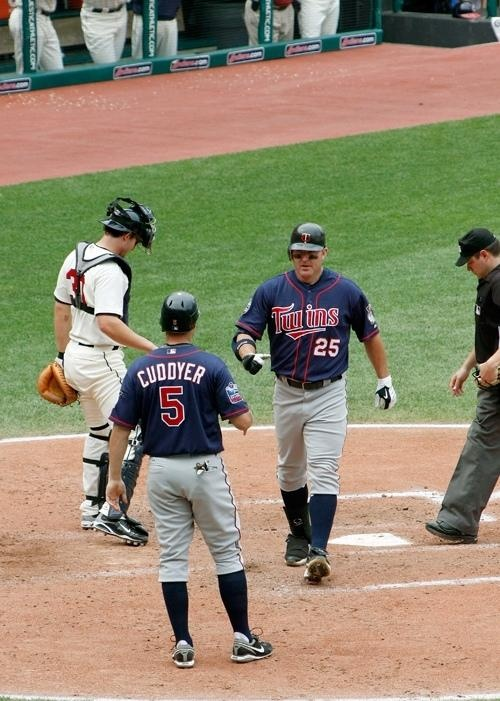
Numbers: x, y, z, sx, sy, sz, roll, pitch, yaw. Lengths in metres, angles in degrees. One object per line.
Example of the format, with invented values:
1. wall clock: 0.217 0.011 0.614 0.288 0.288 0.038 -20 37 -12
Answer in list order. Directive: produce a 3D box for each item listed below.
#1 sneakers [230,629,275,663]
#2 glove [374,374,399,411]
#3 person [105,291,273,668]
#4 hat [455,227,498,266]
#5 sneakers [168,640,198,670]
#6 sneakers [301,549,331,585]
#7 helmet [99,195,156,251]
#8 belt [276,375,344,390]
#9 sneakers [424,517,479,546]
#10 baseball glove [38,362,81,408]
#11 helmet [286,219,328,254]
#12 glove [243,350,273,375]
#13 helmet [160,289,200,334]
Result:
1. sneakers: 0.000 1.184 5.032 0.210 0.097 0.080 -4 6 -44
2. glove: 0.680 0.211 6.206 0.143 0.179 0.086 -3 -7 0
3. person: -0.241 0.533 5.066 0.537 1.480 0.712 -6 18 -22
4. hat: 1.148 -0.512 6.318 0.190 0.202 0.228 4 16 10
5. sneakers: -0.263 1.196 4.969 0.088 0.120 0.117 0 16 -4
6. sneakers: 0.317 1.002 5.802 0.091 0.103 0.213 13 -27 -1
7. helmet: -0.634 -0.663 6.637 0.247 0.324 0.414 1 16 0
8. belt: 0.282 0.154 6.005 0.301 0.065 0.110 2 15 4
9. sneakers: 1.006 0.929 6.382 0.290 0.143 0.105 16 37 -20
10. baseball glove: -1.019 0.179 6.879 0.248 0.190 0.117 51 28 19
11. helmet: 0.268 -0.534 5.990 0.178 0.151 0.220 2 16 5
12. glove: 0.029 0.052 5.885 0.099 0.055 0.126 20 -8 -8
13. helmet: -0.286 -0.164 5.104 0.145 0.127 0.175 1 29 2
